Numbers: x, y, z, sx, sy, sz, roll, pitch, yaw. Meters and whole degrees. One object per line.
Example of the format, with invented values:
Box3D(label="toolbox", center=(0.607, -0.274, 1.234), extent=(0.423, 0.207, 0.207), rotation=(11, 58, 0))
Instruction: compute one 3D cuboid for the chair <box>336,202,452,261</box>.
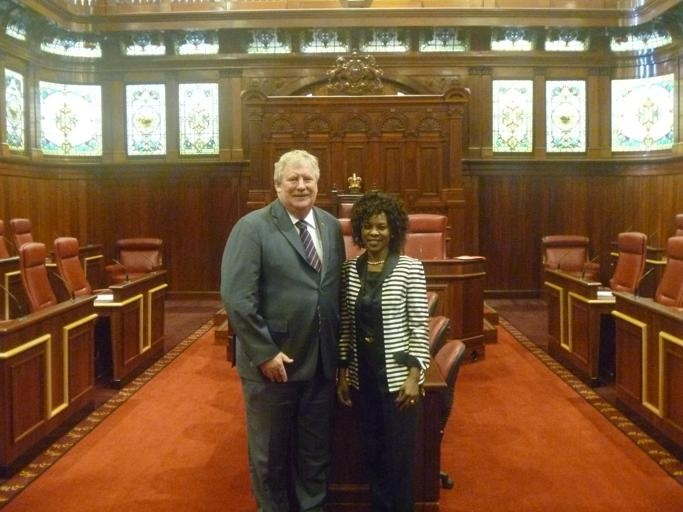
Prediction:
Box3D(label="chair", center=(0.934, -0.249, 7.241), extent=(1.140, 0.853, 0.619), rotation=(0, 1, 2))

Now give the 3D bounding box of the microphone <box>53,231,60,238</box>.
Box3D(label="microphone", center=(-5.412, -0.401, 10.523), extent=(0.109, 0.112, 0.027), rotation=(25, -4, 26))

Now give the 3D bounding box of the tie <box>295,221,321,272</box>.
Box3D(label="tie", center=(-0.222, -0.068, 3.647), extent=(0.084, 0.449, 0.052), rotation=(-15, -12, -10))

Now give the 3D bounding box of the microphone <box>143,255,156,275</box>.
Box3D(label="microphone", center=(-3.023, 0.109, 8.814), extent=(0.134, 0.245, 0.077), rotation=(2, -5, 16))
